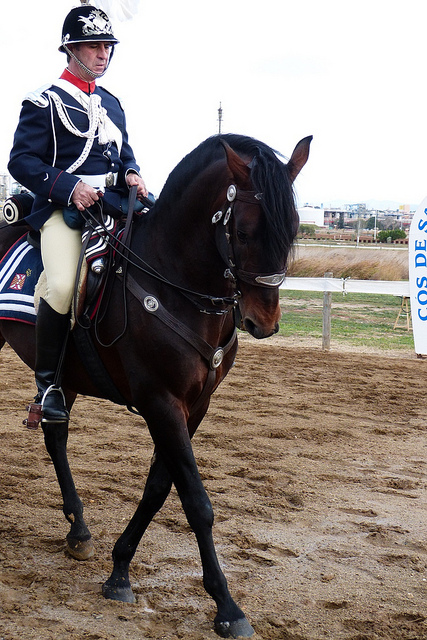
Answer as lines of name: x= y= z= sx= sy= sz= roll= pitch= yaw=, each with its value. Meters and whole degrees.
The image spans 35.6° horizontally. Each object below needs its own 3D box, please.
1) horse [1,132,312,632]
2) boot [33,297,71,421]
horse: x=-0.361 y=0.218 z=3.162 sx=0.592 sy=2.209 sz=1.657 roll=0 pitch=10 yaw=-44
boot: x=-0.798 y=0.199 z=3.270 sx=0.218 sy=0.616 sz=0.242 roll=7 pitch=8 yaw=-2
